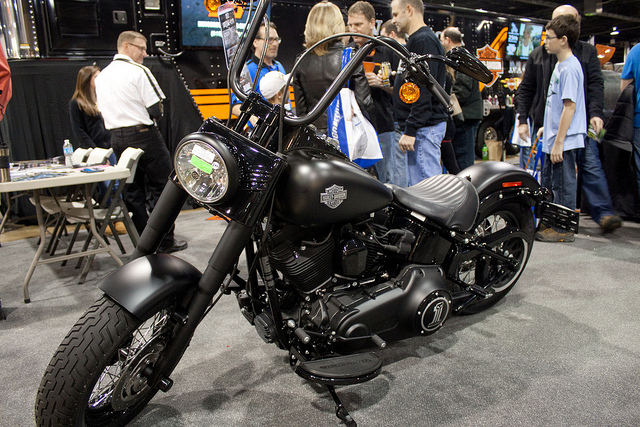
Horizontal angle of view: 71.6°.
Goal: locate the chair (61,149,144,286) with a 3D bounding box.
[{"bbox_3d":[-2.654,-0.138,5.015,0.765,1.285,0.697,-12,5,-43],"label":"chair"}]
